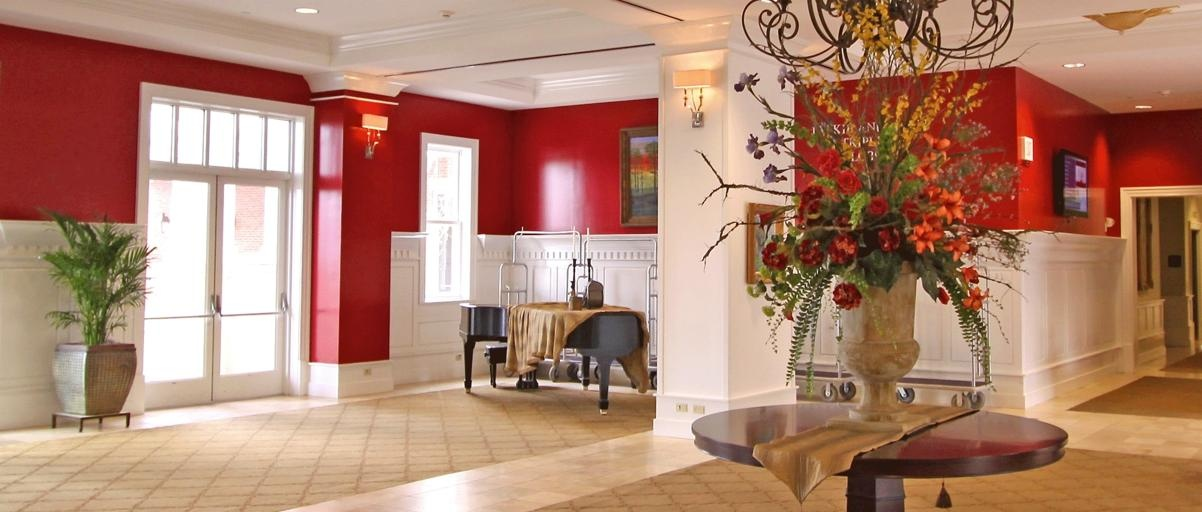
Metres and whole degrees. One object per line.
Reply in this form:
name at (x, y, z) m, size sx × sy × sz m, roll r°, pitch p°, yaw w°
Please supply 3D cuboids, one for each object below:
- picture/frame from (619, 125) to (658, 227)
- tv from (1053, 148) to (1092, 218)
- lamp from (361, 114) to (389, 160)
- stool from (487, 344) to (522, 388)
picture/frame at (0.749, -1.562, 13.638) m, size 0.802 × 1.966 × 0.551 m, roll 3°, pitch 14°, yaw 13°
tv at (8.963, -1.365, 13.087) m, size 0.381 × 1.366 × 1.888 m, roll -2°, pitch -2°, yaw 45°
lamp at (-4.153, -2.191, 12.679) m, size 0.469 × 0.789 × 0.205 m, roll -6°, pitch 15°, yaw -27°
stool at (-1.961, 2.083, 13.043) m, size 0.355 × 0.849 × 0.605 m, roll -2°, pitch 12°, yaw -10°
